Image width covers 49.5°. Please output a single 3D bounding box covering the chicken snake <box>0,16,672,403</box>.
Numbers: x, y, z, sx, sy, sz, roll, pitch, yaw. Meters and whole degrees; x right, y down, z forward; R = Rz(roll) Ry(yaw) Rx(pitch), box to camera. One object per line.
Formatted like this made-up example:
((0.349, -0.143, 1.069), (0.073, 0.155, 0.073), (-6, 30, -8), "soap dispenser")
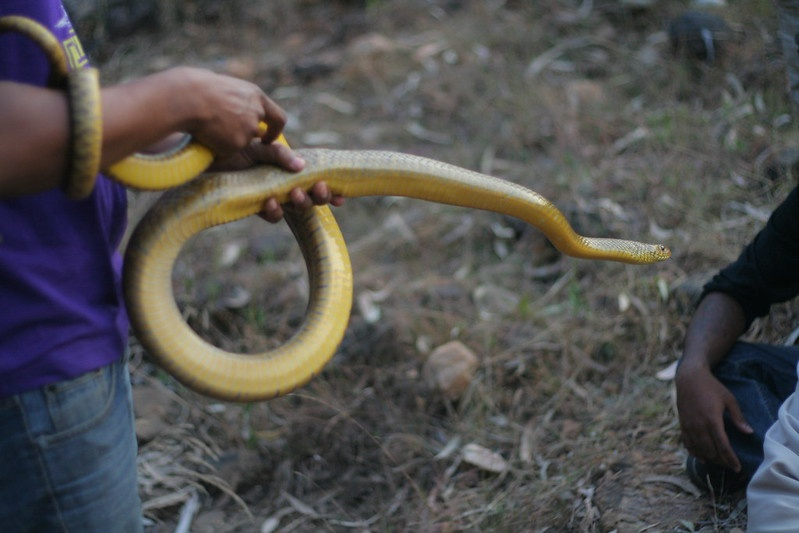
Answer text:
((-0.484, -0.160, 3.622), (2.053, 0.346, 1.134), (17, 58, -23), "chicken snake")
